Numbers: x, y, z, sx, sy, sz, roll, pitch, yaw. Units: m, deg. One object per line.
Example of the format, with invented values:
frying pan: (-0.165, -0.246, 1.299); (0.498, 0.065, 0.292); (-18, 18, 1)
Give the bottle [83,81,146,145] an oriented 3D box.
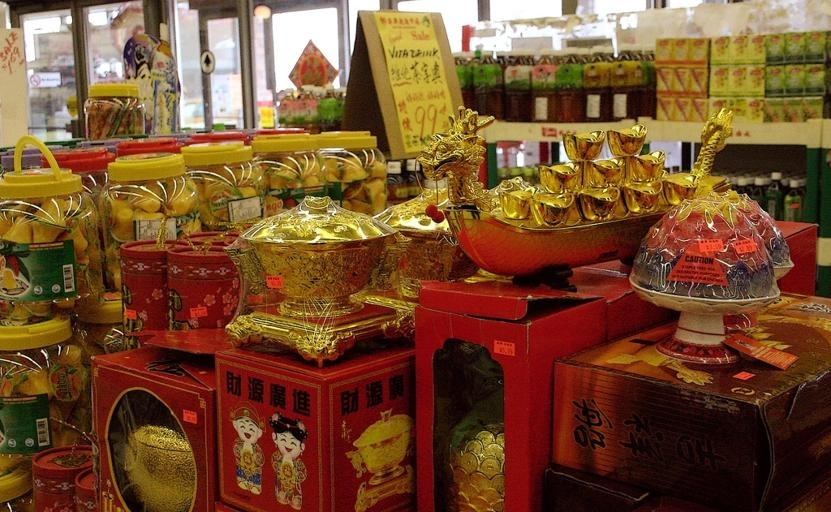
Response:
bottle: (-1.474, -0.737, 3.212); (0.341, 0.310, 0.342); (7, 13, 31)
